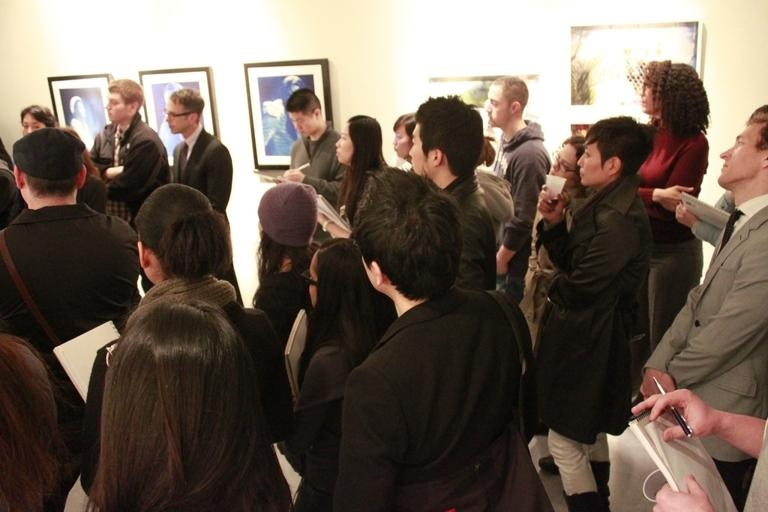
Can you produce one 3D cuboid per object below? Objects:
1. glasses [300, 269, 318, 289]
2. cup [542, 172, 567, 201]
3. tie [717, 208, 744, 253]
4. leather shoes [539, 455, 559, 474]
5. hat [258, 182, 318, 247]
[{"bbox_3d":[-0.376,0.118,2.956,0.029,0.100,0.095,-8,-1,-11],"label":"glasses"},{"bbox_3d":[0.962,-0.416,3.388,0.137,0.142,0.131,9,-26,4],"label":"cup"},{"bbox_3d":[1.809,-0.141,3.096,0.041,0.335,0.062,11,23,12],"label":"tie"},{"bbox_3d":[1.044,1.322,3.689,0.130,0.082,0.048,-6,4,40],"label":"leather shoes"},{"bbox_3d":[-0.528,-0.226,3.272,0.369,0.314,0.276,5,12,36],"label":"hat"}]
